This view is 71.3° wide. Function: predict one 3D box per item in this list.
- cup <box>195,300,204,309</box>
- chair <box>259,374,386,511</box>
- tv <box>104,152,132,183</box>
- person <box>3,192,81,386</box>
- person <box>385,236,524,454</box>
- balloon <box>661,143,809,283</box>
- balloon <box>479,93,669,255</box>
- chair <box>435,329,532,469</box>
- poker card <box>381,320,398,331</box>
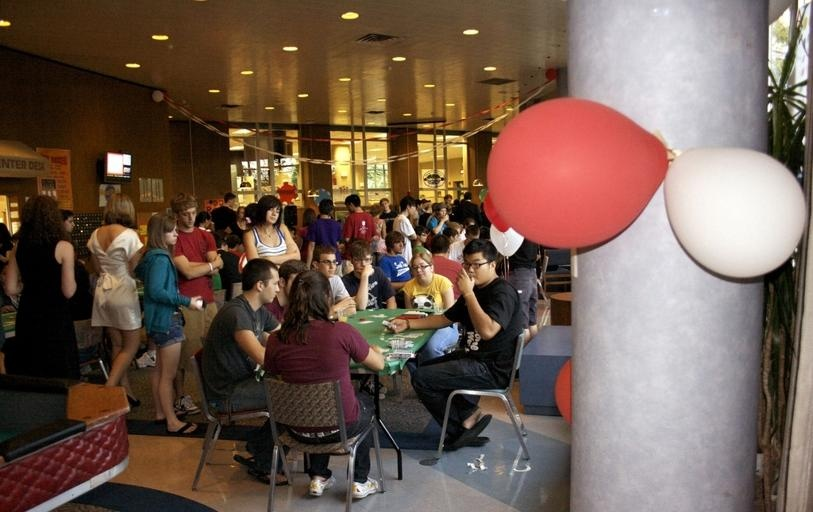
[{"bbox_3d":[-1.737,0.410,4.787,0.058,0.065,0.063,-13,10,2],"label":"cup"},{"bbox_3d":[-0.550,1.196,3.680,0.629,0.968,0.425,0,10,8],"label":"chair"},{"bbox_3d":[-5.121,-1.579,10.085,0.298,0.547,0.592,-1,1,23],"label":"tv"},{"bbox_3d":[-3.010,0.272,4.657,0.561,1.530,0.316,-6,11,-22],"label":"person"},{"bbox_3d":[0.369,0.714,4.615,1.099,1.640,0.777,1,-1,13],"label":"person"},{"bbox_3d":[1.174,-0.189,2.119,0.502,0.383,0.381,30,24,16],"label":"balloon"},{"bbox_3d":[0.625,-0.307,2.180,0.607,0.494,0.464,3,47,13],"label":"balloon"},{"bbox_3d":[0.698,1.137,4.827,0.968,1.206,0.728,3,-1,5],"label":"chair"},{"bbox_3d":[-0.140,0.559,4.558,0.100,0.024,0.060,18,33,-12],"label":"poker card"}]
